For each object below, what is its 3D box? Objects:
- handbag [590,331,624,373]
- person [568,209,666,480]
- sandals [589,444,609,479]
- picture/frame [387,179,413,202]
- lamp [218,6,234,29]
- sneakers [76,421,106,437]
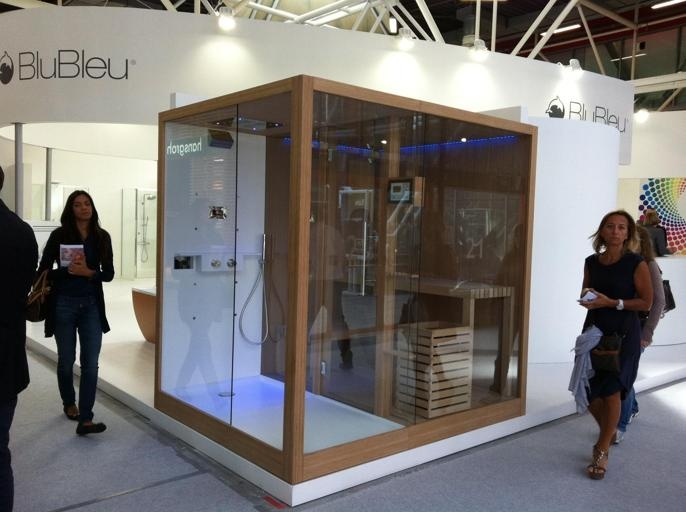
[{"bbox_3d":[2.031,0.726,4.065,0.122,0.353,0.290,3,2,-45],"label":"handbag"},{"bbox_3d":[2.089,0.654,4.169,0.508,2.013,0.651,7,9,38],"label":"person"},{"bbox_3d":[1.956,1.577,4.054,0.101,0.134,0.284,-4,-4,29],"label":"sandals"},{"bbox_3d":[0.431,-0.485,3.993,0.221,0.180,0.038,-5,10,-39],"label":"picture/frame"},{"bbox_3d":[-1.535,-3.094,6.950,0.202,0.302,0.263,-2,8,-21],"label":"lamp"},{"bbox_3d":[-2.113,1.429,4.420,0.287,0.129,0.106,-9,-13,28],"label":"sneakers"}]
